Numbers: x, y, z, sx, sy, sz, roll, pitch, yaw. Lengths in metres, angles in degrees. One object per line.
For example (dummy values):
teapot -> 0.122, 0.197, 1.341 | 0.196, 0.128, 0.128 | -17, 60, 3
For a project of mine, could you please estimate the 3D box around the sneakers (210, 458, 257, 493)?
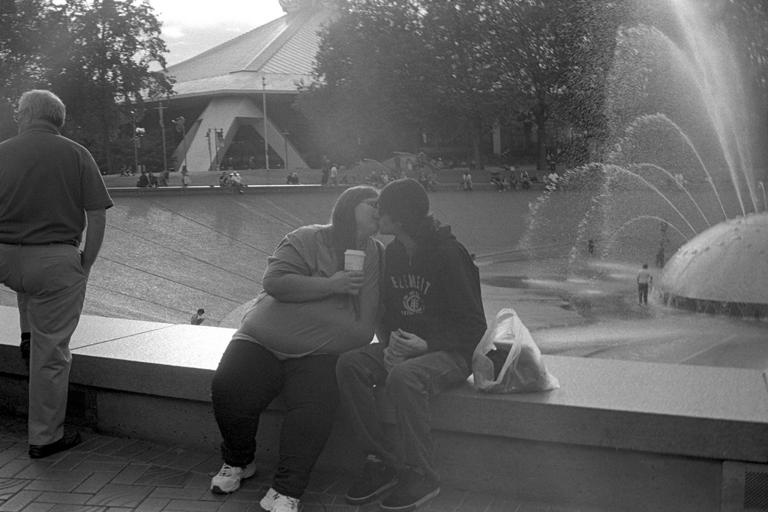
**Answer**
sneakers -> -0.832, 1.208, 4.155 | 0.106, 0.115, 0.266 | -5, 2, 26

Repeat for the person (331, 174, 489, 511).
person -> 0.162, 0.443, 4.100 | 0.577, 1.711, 0.621 | 5, 7, 36

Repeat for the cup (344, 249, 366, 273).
cup -> -0.159, 0.024, 4.123 | 0.114, 0.106, 0.112 | 2, 0, 0
